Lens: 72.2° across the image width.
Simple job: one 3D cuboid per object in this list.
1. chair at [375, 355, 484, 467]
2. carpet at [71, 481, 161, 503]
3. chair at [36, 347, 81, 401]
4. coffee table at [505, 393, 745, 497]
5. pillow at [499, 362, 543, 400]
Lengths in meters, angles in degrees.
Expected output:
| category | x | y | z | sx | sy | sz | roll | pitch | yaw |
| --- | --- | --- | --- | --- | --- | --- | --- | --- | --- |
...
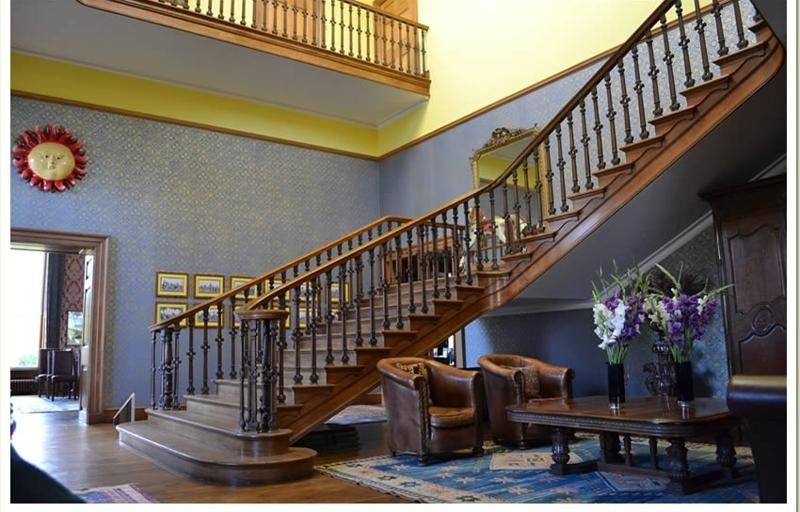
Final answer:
| category | x | y | z | sx | sy | sz | roll | pitch | yaw |
| --- | --- | --- | --- | --- | --- | --- | --- | --- | --- |
| chair | 0.261 | 1.836 | 6.613 | 1.164 | 1.141 | 1.200 | 8 | -18 | -34 |
| carpet | -2.697 | 2.249 | 5.180 | 0.497 | 0.069 | 0.877 | 12 | -17 | -43 |
| chair | -8.147 | 2.783 | 13.102 | 0.858 | 1.194 | 1.939 | 8 | -15 | -32 |
| coffee table | 2.311 | 1.870 | 5.595 | 1.910 | 0.807 | 1.515 | -8 | -14 | 30 |
| pillow | 1.492 | 1.566 | 6.865 | 0.442 | 0.485 | 0.415 | 3 | -16 | -26 |
